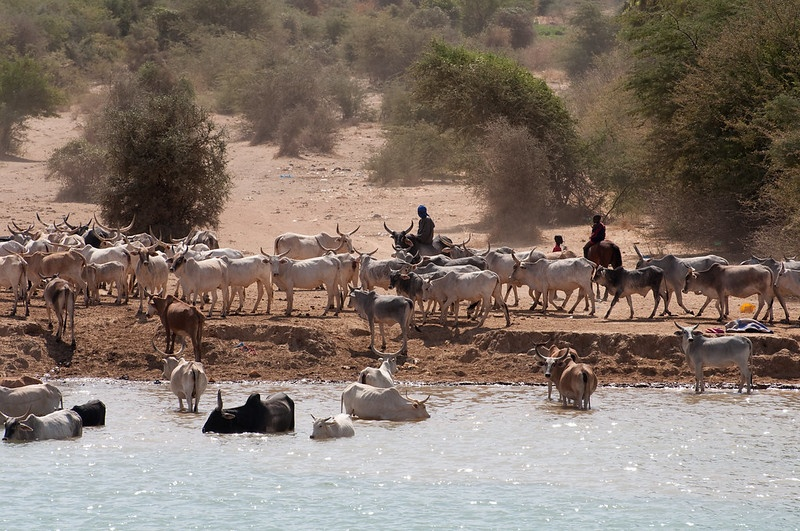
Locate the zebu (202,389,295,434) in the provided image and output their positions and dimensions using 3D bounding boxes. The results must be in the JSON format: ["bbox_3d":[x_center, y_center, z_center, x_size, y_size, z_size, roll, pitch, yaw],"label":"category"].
[{"bbox_3d":[-3.630,3.424,27.951,1.999,1.352,0.951,1,0,-9],"label":"zebu"}]

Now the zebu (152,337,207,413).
[{"bbox_3d":[-5.303,2.822,28.934,0.830,1.358,1.636,-1,1,-23],"label":"zebu"}]

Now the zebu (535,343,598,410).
[{"bbox_3d":[4.090,2.677,29.353,0.902,1.373,1.977,-3,12,-21],"label":"zebu"}]

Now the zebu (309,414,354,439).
[{"bbox_3d":[-1.603,3.695,27.229,0.458,0.515,1.018,-4,-8,43],"label":"zebu"}]
